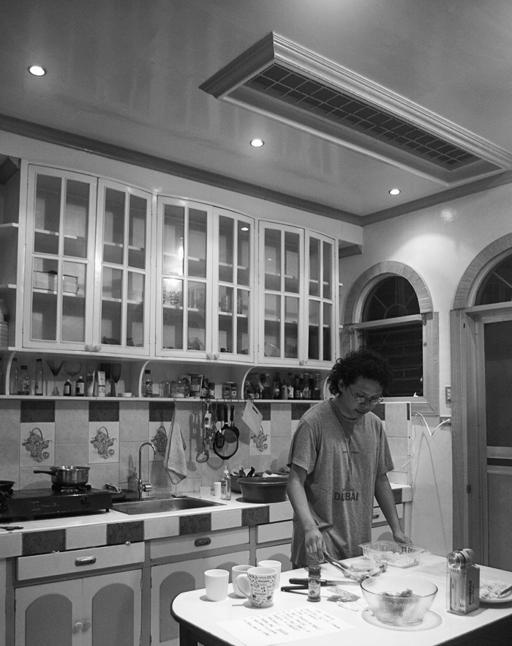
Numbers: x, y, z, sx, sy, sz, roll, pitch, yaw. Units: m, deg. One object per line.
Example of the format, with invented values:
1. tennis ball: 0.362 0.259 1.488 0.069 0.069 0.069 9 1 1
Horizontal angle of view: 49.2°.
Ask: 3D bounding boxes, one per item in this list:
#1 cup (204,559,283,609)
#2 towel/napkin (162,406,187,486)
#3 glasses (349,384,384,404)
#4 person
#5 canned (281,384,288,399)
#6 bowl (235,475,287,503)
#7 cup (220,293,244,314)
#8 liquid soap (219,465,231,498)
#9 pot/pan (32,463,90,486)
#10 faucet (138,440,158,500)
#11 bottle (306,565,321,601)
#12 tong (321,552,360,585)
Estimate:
1. cup: -0.033 0.711 1.555 0.210 0.103 0.103 -2 0 0
2. towel/napkin: -0.527 0.838 3.660 0.141 0.466 0.314 1 -6 -9
3. glasses: 0.421 0.269 2.154 0.136 0.105 0.087 0 -6 -2
4. person: 0.343 0.510 2.059 0.448 0.837 0.585 0 -6 0
5. canned: 0.219 0.532 4.322 0.041 0.134 0.080 3 -4 -39
6. bowl: 0.047 1.031 3.424 0.290 0.126 0.194 1 -6 -5
7. cup: -0.176 -0.139 3.891 0.053 0.118 0.107 -16 -20 42
8. liquid soap: -0.195 1.034 3.568 0.065 0.146 0.203 1 -6 -3
9. pot/pan: -1.034 0.802 2.945 0.257 0.098 0.165 2 -6 -26
10. faucet: -0.685 0.913 3.507 0.112 0.313 0.312 1 -6 -10
11. bottle: 0.167 0.738 1.603 0.036 0.089 0.098 0 -6 5
12. tong: 0.265 0.764 1.743 0.040 0.045 0.187 -31 -39 9
